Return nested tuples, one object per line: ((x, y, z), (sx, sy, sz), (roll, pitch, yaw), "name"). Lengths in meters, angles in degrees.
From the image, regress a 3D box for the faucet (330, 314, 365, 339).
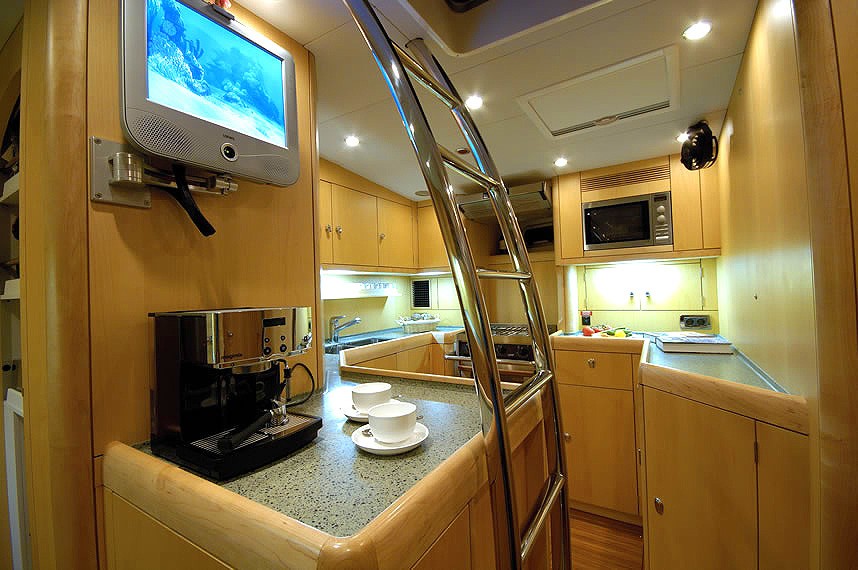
((-0.599, 0.307, 4.512), (0.121, 0.170, 0.383), (-4, -1, 27), "faucet")

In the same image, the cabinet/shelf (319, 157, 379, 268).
((-0.551, -0.486, 3.968), (0.242, 0.568, 0.641), (-4, -6, 25), "cabinet/shelf")

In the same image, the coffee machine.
((-0.685, 0.324, 2.435), (0.554, 0.673, 0.690), (-2, -1, 34), "coffee machine")

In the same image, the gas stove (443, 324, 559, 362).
((0.524, 0.411, 4.401), (0.723, 0.192, 0.628), (-4, -1, 33), "gas stove")

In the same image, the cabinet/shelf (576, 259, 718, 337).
((1.519, 0.078, 4.158), (0.825, 0.464, 0.118), (-4, -2, 27), "cabinet/shelf")

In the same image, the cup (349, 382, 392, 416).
((-0.234, 0.444, 2.416), (0.120, 0.090, 0.116), (0, 8, 0), "cup")

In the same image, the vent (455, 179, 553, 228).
((0.466, -0.533, 3.785), (0.441, 0.110, 0.410), (-3, -11, 25), "vent")

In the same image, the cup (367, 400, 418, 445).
((-0.128, 0.493, 2.190), (0.142, 0.089, 0.131), (-2, 0, 0), "cup")

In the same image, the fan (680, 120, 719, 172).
((1.510, -0.787, 3.375), (0.183, 0.271, 0.317), (-4, -1, 27), "fan")
